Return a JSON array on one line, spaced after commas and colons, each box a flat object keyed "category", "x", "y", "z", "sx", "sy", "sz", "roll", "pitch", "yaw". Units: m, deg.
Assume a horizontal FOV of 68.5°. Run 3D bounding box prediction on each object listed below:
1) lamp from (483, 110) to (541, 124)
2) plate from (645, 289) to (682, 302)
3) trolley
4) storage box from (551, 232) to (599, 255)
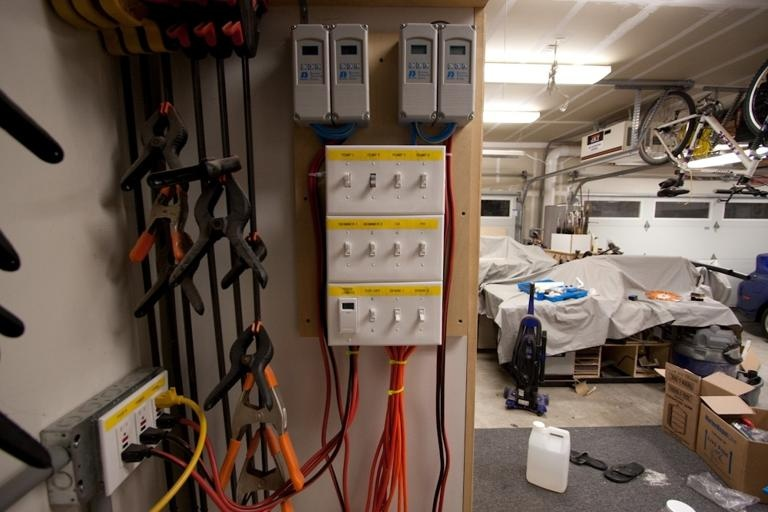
[{"category": "lamp", "x": 1.546, "y": -1.717, "z": 6.952, "sx": 0.646, "sy": 0.117, "sz": 0.410, "roll": 0, "pitch": 9, "yaw": 5}, {"category": "plate", "x": 2.865, "y": 0.408, "z": 5.789, "sx": 0.327, "sy": 0.052, "sz": 0.432, "roll": 5, "pitch": 10, "yaw": 29}, {"category": "trolley", "x": 1.326, "y": 0.860, "z": 5.186, "sx": 0.429, "sy": 1.195, "sz": 0.303, "roll": 6, "pitch": 11, "yaw": 33}, {"category": "storage box", "x": 2.649, "y": -0.162, "z": 7.856, "sx": 0.367, "sy": 0.311, "sz": 0.824, "roll": -1, "pitch": 9, "yaw": -4}]
